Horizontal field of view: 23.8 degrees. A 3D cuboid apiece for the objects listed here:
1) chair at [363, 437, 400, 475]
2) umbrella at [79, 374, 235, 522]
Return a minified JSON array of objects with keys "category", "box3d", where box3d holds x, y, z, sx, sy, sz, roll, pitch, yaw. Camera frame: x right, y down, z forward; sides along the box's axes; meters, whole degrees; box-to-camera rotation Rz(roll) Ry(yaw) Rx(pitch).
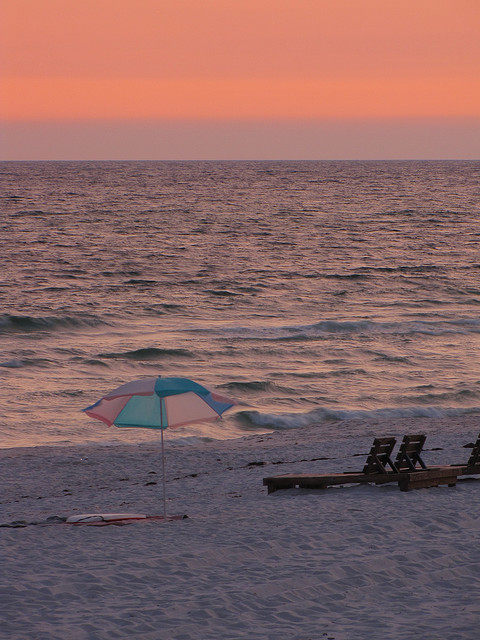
[{"category":"chair","box3d":[1.939,1.860,15.739,0.476,0.552,0.776,-4,4,5]},{"category":"umbrella","box3d":[-0.700,1.577,15.203,2.567,1.969,2.026,-2,-7,-10]}]
